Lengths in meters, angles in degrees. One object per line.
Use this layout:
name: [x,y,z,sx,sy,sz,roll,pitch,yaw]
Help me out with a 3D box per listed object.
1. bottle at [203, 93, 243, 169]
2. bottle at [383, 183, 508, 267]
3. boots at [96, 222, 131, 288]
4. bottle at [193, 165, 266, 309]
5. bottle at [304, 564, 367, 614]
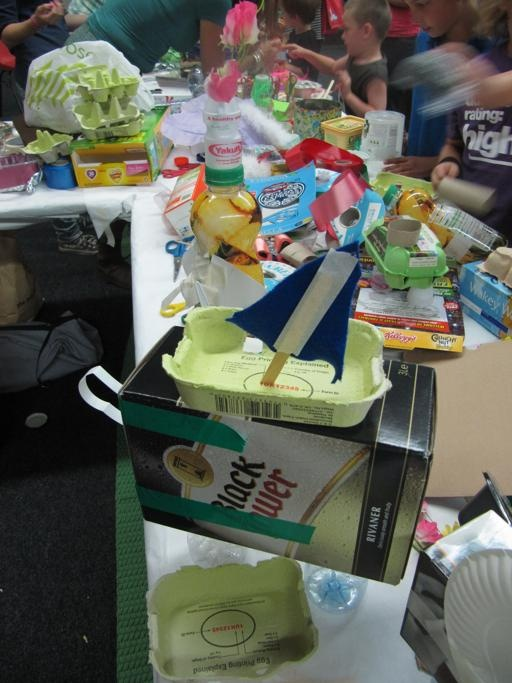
bottle: [-0.044,-0.267,0.677,0.047,0.084,0.052,-1,30,-4]
bottle: [0.335,-0.256,1.081,0.093,0.117,0.302,-32,52,-18]
boots: [-0.669,-0.410,2.481,0.091,0.185,0.260,-16,60,-14]
bottle: [-0.038,-0.146,0.725,0.104,0.168,0.198,-3,30,-6]
bottle: [0.078,0.262,0.560,0.067,0.015,0.046,12,31,18]
